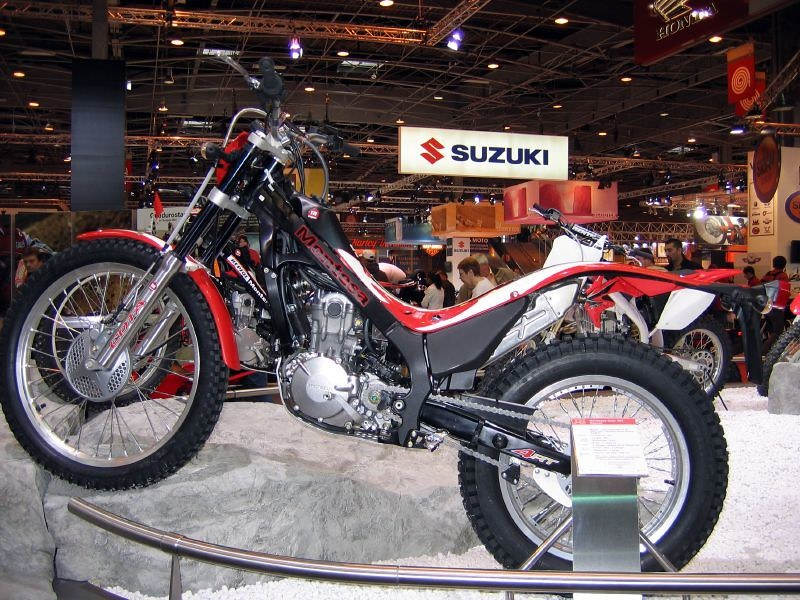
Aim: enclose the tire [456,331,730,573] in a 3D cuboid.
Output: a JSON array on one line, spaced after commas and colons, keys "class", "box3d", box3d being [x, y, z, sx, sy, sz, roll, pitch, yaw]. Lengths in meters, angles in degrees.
[{"class": "tire", "box3d": [0.847, 0.582, 2.494, 0.916, 0.908, 1.429, 8, 7, 30]}]
